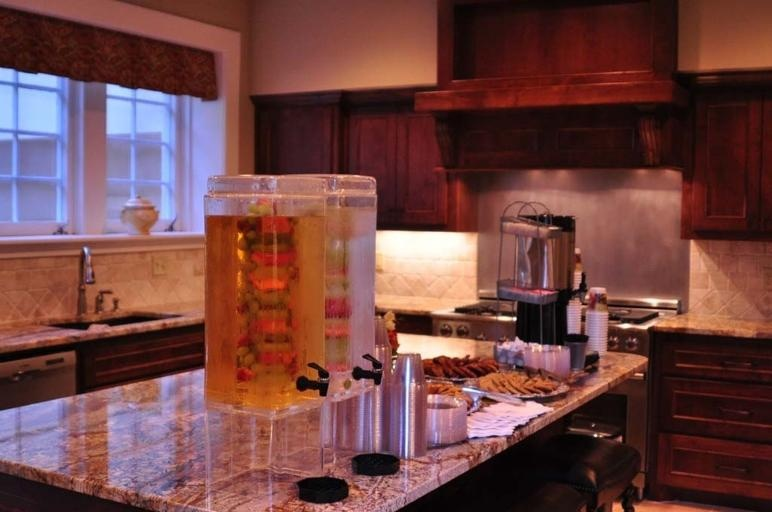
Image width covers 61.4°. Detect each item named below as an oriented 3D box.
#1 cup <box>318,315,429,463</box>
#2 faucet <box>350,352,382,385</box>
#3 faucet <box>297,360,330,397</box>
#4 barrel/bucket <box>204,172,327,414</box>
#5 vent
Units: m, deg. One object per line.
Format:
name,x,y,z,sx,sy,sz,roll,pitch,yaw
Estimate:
cup,0.020,0.477,2.190,0.377,0.402,0.284,-1,2,12
faucet,-0.062,0.361,2.062,0.099,0.106,0.102,1,5,2
faucet,-0.222,0.372,1.958,0.100,0.119,0.102,0,5,-7
barrel/bucket,-0.374,0.104,1.970,0.372,0.690,0.173,0,6,-5
vent,1.188,-0.892,4.974,1.951,0.433,0.623,-4,-1,-13
